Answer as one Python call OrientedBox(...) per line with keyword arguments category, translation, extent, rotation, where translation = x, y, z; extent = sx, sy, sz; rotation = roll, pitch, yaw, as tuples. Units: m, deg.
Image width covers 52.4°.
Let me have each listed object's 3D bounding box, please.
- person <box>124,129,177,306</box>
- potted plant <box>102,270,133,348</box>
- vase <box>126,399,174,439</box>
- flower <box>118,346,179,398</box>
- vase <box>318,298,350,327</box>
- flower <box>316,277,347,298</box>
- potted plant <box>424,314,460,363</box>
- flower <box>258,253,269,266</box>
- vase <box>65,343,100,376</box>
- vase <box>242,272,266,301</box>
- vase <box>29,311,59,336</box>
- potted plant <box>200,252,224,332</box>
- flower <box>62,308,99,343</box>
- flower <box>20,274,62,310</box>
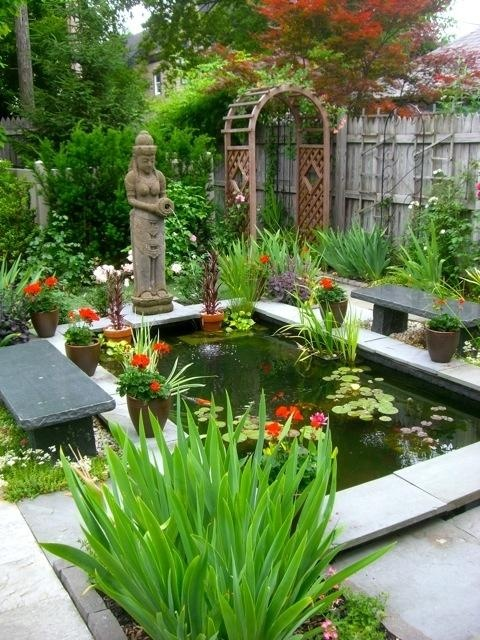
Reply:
OrientedBox(category="person", translation=(-1.027, -1.046, 5.500), extent=(0.502, 1.987, 0.269), rotation=(-1, 9, -10))
OrientedBox(category="potted plant", translation=(-1.238, -0.112, 4.905), extent=(0.270, 0.697, 0.425), rotation=(-2, 9, -15))
OrientedBox(category="vase", translation=(-0.541, 0.553, 2.938), extent=(0.324, 0.271, 0.316), rotation=(0, 9, -4))
OrientedBox(category="flower", translation=(-0.581, 0.350, 2.995), extent=(0.338, 0.236, 0.332), rotation=(-5, 17, -43))
OrientedBox(category="vase", translation=(0.955, -0.085, 4.999), extent=(0.274, 0.231, 0.266), rotation=(9, 15, 42))
OrientedBox(category="flower", translation=(0.919, -0.342, 4.996), extent=(0.265, 0.169, 0.261), rotation=(17, 32, 27))
OrientedBox(category="potted plant", translation=(1.669, 0.159, 4.028), extent=(0.257, 0.417, 0.174), rotation=(4, 10, 20))
OrientedBox(category="flower", translation=(0.276, -0.734, 5.866), extent=(0.101, 0.104, 0.129), rotation=(3, -8, 9))
OrientedBox(category="vase", translation=(-1.258, 0.301, 4.058), extent=(0.277, 0.290, 0.270), rotation=(-2, 15, -7))
OrientedBox(category="vase", translation=(0.185, -0.392, 5.947), extent=(0.171, 0.335, 0.536), rotation=(4, 9, 19))
OrientedBox(category="vase", translation=(-1.964, 0.031, 4.965), extent=(0.269, 0.279, 0.259), rotation=(-1, 7, -13))
OrientedBox(category="potted plant", translation=(-0.316, -0.317, 5.514), extent=(0.260, 0.893, 0.348), rotation=(0, 9, -2))
OrientedBox(category="flower", translation=(-1.447, 0.064, 4.427), extent=(0.277, 0.353, 0.319), rotation=(8, 9, 42))
OrientedBox(category="flower", translation=(-2.014, -0.249, 5.001), extent=(0.424, 0.316, 0.466), rotation=(0, 18, -3))
